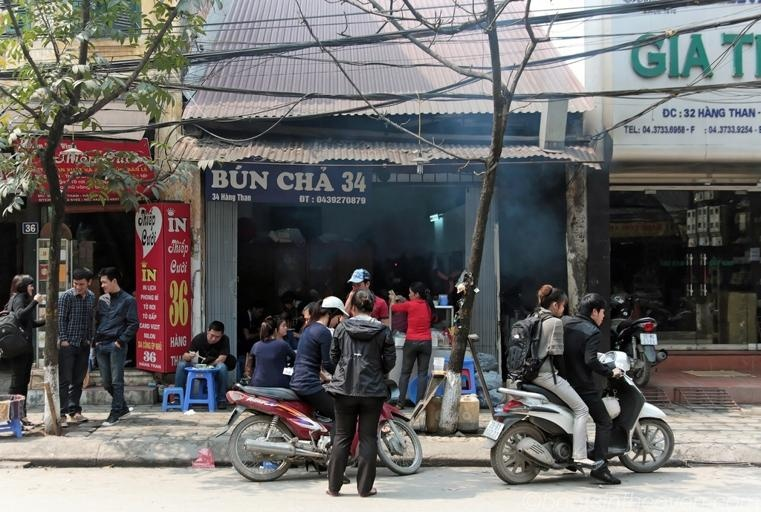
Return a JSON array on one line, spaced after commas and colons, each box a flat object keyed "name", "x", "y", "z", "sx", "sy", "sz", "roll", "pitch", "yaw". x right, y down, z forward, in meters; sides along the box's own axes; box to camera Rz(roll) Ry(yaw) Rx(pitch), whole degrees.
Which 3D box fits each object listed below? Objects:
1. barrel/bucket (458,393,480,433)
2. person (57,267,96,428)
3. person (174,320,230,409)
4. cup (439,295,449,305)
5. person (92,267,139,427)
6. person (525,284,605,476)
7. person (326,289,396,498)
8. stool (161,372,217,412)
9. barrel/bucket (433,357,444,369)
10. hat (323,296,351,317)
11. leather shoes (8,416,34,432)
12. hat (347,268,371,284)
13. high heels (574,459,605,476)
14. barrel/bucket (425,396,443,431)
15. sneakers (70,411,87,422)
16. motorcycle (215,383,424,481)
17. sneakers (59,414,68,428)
[{"name": "barrel/bucket", "x": 1.497, "y": 2.700, "z": 16.169, "sx": 0.462, "sy": 0.750, "sz": 0.816, "roll": 0, "pitch": 0, "yaw": 5}, {"name": "person", "x": -5.144, "y": 1.517, "z": 16.188, "sx": 0.530, "sy": 2.599, "sz": 0.587, "roll": -1, "pitch": -3, "yaw": -3}, {"name": "person", "x": -3.212, "y": 2.024, "z": 17.174, "sx": 1.128, "sy": 1.932, "sz": 1.236, "roll": 2, "pitch": -22, "yaw": -5}, {"name": "cup", "x": 1.238, "y": 0.868, "z": 18.651, "sx": 0.184, "sy": 0.177, "sz": 0.188, "roll": 1, "pitch": -1, "yaw": 0}, {"name": "person", "x": -4.479, "y": 1.519, "z": 16.247, "sx": 0.732, "sy": 2.652, "sz": 0.454, "roll": 0, "pitch": -3, "yaw": -8}, {"name": "person", "x": 2.667, "y": 1.776, "z": 14.044, "sx": 0.844, "sy": 2.607, "sz": 0.449, "roll": -1, "pitch": -3, "yaw": 9}, {"name": "person", "x": -0.280, "y": 1.928, "z": 13.562, "sx": 0.960, "sy": 2.910, "sz": 0.344, "roll": -1, "pitch": -3, "yaw": -1}, {"name": "stool", "x": -3.400, "y": 2.464, "z": 17.059, "sx": 0.793, "sy": 0.595, "sz": 0.797, "roll": 1, "pitch": -4, "yaw": -7}, {"name": "barrel/bucket", "x": 1.002, "y": 1.818, "z": 16.090, "sx": 0.177, "sy": 0.211, "sz": 0.382, "roll": -1, "pitch": -4, "yaw": 3}, {"name": "hat", "x": -0.676, "y": 0.765, "z": 14.548, "sx": 0.357, "sy": 0.188, "sz": 0.262, "roll": 8, "pitch": -4, "yaw": -22}, {"name": "leather shoes", "x": -5.818, "y": 2.709, "z": 15.394, "sx": 0.279, "sy": 0.113, "sz": 0.222, "roll": 0, "pitch": -3, "yaw": 33}, {"name": "hat", "x": -0.315, "y": 0.367, "z": 16.895, "sx": 0.405, "sy": 0.219, "sz": 0.261, "roll": 6, "pitch": -5, "yaw": -40}, {"name": "high heels", "x": 3.014, "y": 3.084, "z": 13.923, "sx": 0.537, "sy": 0.221, "sz": 0.182, "roll": -2, "pitch": -6, "yaw": -1}, {"name": "barrel/bucket", "x": 0.887, "y": 2.626, "z": 15.805, "sx": 0.457, "sy": 0.682, "sz": 0.417, "roll": 0, "pitch": -7, "yaw": 0}, {"name": "sneakers", "x": -5.117, "y": 2.733, "z": 16.169, "sx": 0.278, "sy": 0.122, "sz": 0.143, "roll": -1, "pitch": -3, "yaw": 18}, {"name": "motorcycle", "x": -1.010, "y": 2.626, "z": 14.295, "sx": 3.110, "sy": 1.877, "sz": 1.325, "roll": 0, "pitch": -17, "yaw": -8}, {"name": "sneakers", "x": -5.251, "y": 2.735, "z": 15.817, "sx": 0.176, "sy": 0.230, "sz": 0.577, "roll": 1, "pitch": -9, "yaw": -17}]
